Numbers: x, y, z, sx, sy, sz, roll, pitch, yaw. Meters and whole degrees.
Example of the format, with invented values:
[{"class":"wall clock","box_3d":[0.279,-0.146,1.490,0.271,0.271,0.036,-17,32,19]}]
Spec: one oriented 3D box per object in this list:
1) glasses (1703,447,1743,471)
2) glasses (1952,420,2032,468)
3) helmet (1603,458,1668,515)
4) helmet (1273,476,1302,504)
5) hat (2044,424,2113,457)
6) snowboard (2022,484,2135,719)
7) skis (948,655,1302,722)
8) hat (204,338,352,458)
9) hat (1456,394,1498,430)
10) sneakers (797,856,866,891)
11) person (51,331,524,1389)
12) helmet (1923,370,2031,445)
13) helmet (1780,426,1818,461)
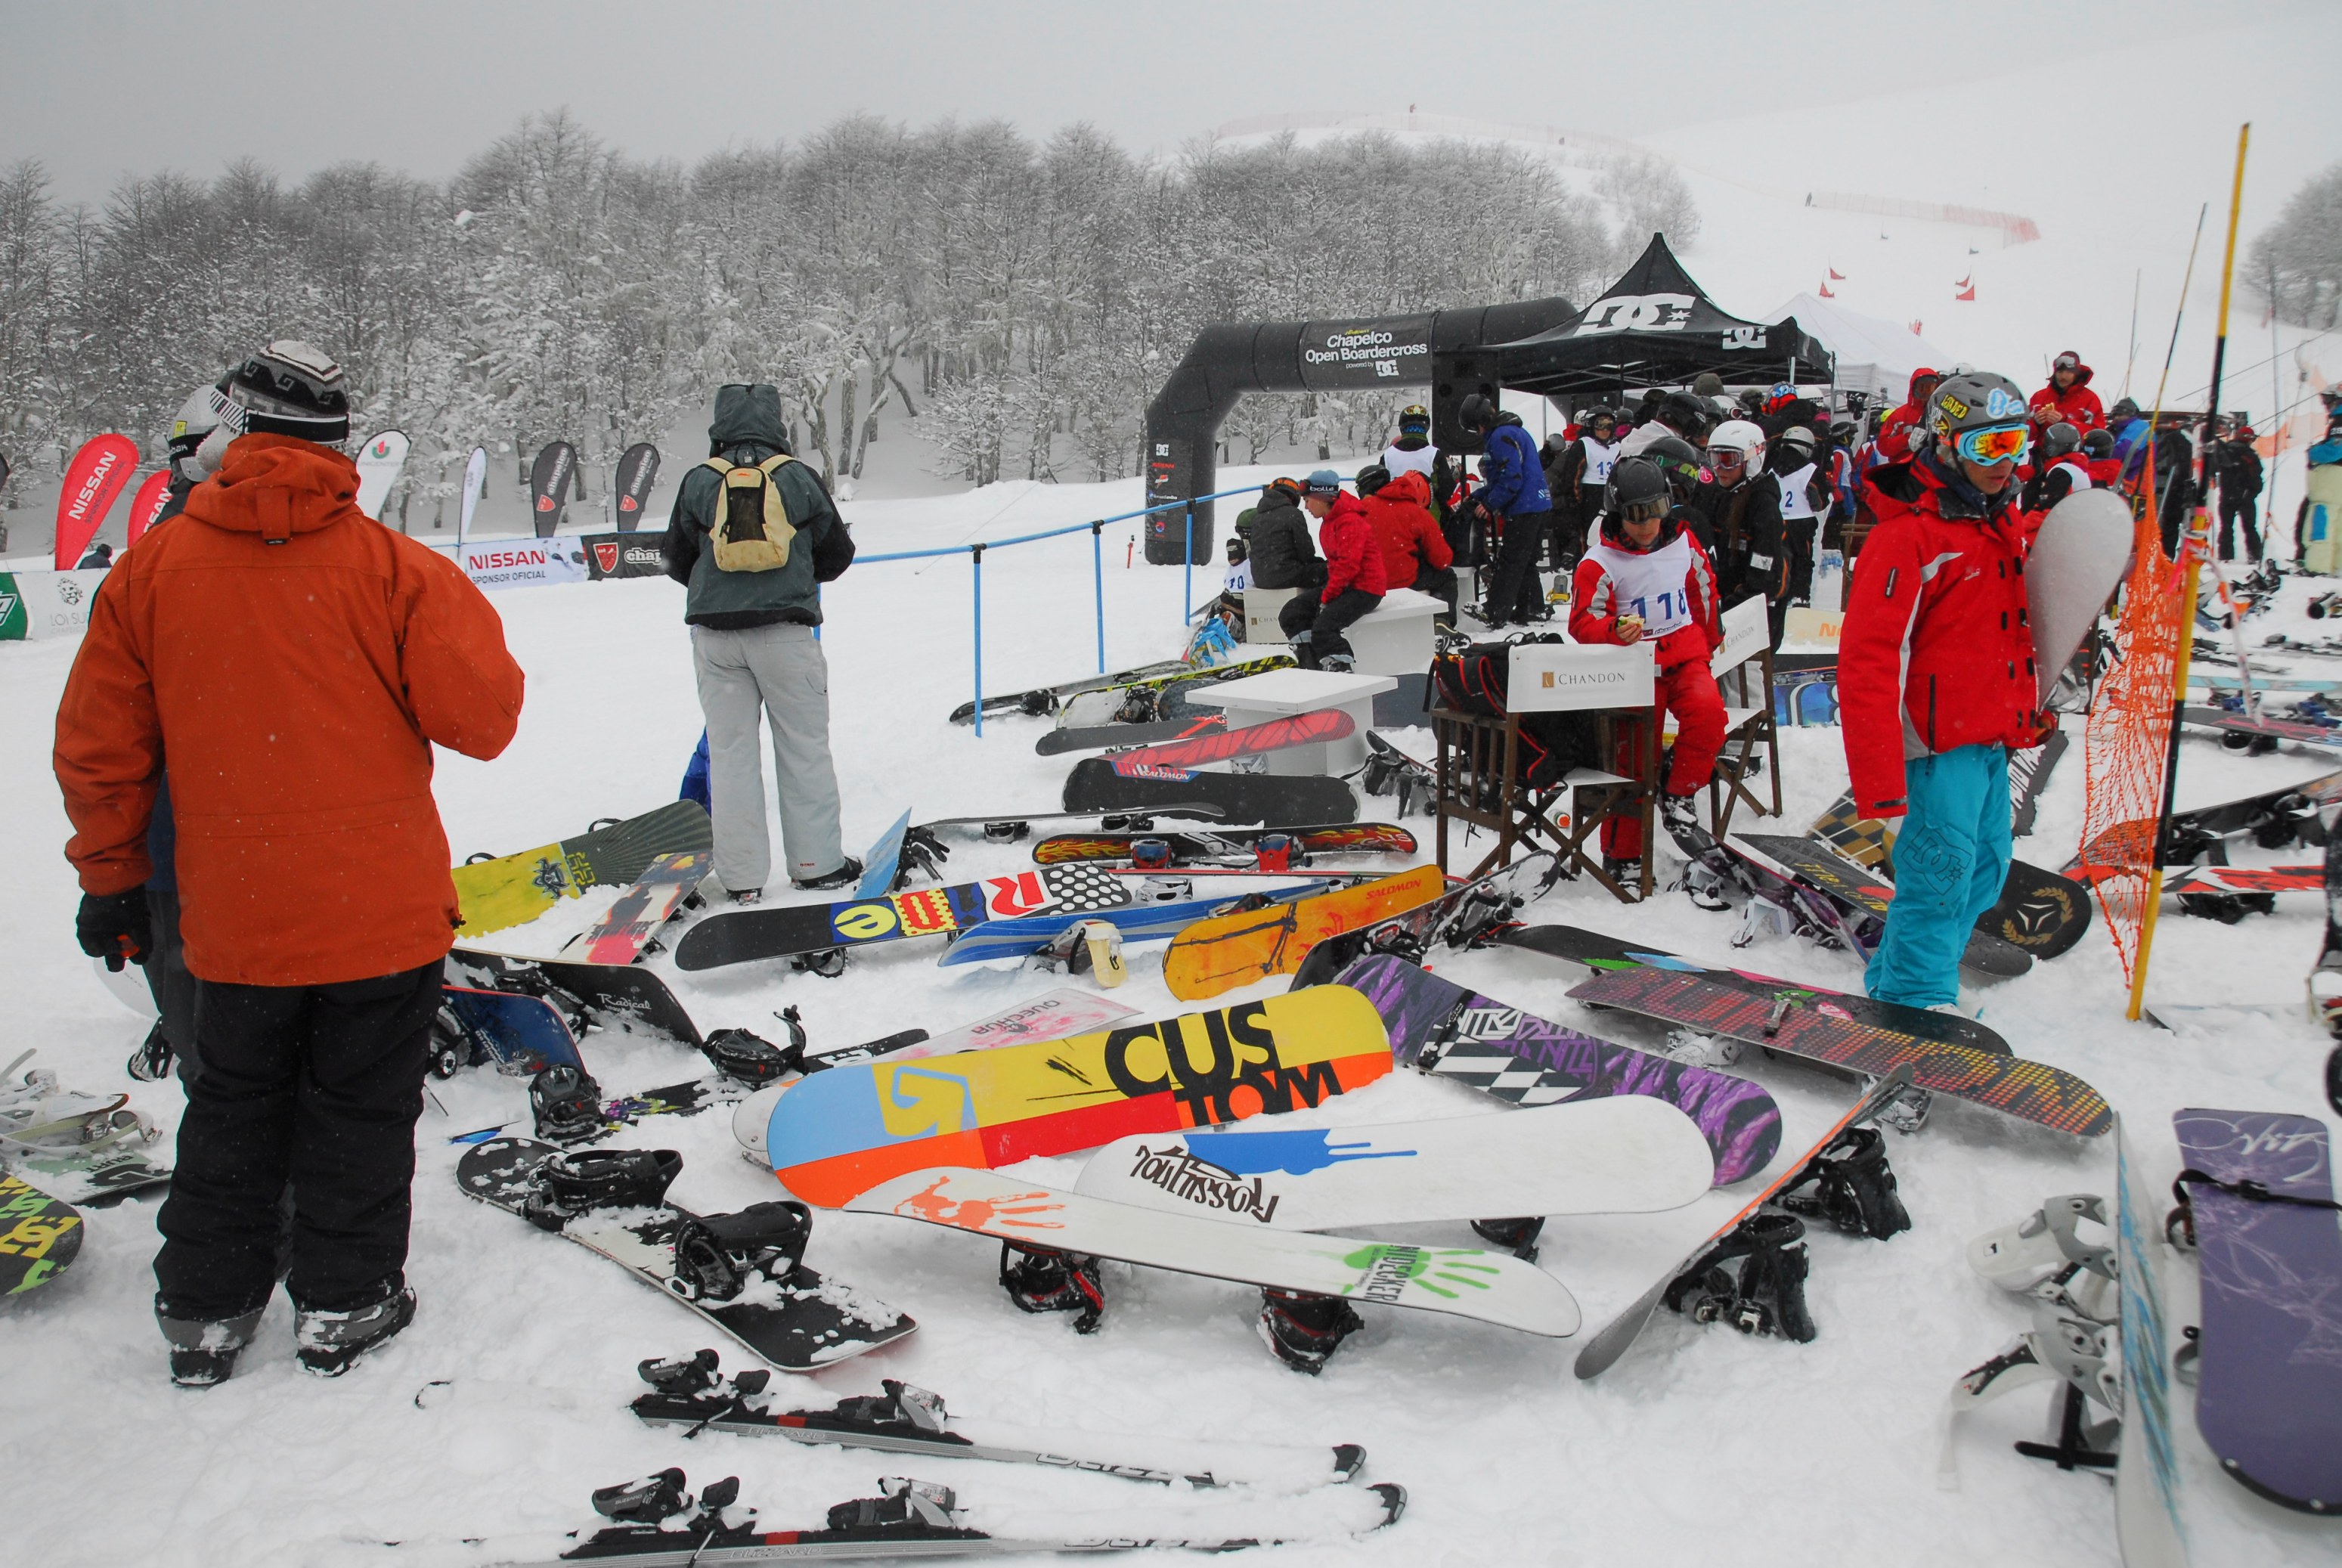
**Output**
[{"class":"glasses","box_3d":[3.143,-1.830,10.559,0.131,0.151,0.115,1,2,24]},{"class":"glasses","box_3d":[2.726,-1.114,6.175,0.253,0.144,0.100,-2,11,-7]},{"class":"helmet","box_3d":[2.013,-1.285,8.064,0.213,0.245,0.260,-2,18,5]},{"class":"helmet","box_3d":[0.817,-2.105,13.312,0.250,0.101,0.342,15,12,-13]},{"class":"hat","box_3d":[5.814,-2.192,11.981,0.460,0.184,0.302,7,23,22]},{"class":"snowboard","box_3d":[3.122,-0.616,6.474,0.118,0.824,0.269,-19,42,-38]},{"class":"skis","box_3d":[-0.300,-0.552,11.123,2.187,0.241,0.253,-8,33,-19]},{"class":"hat","box_3d":[-2.493,-1.137,5.279,0.268,0.335,0.305,-18,-14,-45]},{"class":"hat","box_3d":[2.167,-2.575,13.056,0.265,0.255,0.434,1,11,10]},{"class":"sneakers","box_3d":[-1.517,0.415,8.276,0.329,0.133,0.107,-14,23,-21]},{"class":"person","box_3d":[-2.431,0.352,5.191,1.145,2.532,0.563,-5,12,-20]},{"class":"helmet","box_3d":[2.692,-1.238,6.236,0.220,0.264,0.281,-16,12,-30]},{"class":"helmet","box_3d":[4.420,-2.428,13.199,0.234,0.266,0.298,-3,46,28]}]
